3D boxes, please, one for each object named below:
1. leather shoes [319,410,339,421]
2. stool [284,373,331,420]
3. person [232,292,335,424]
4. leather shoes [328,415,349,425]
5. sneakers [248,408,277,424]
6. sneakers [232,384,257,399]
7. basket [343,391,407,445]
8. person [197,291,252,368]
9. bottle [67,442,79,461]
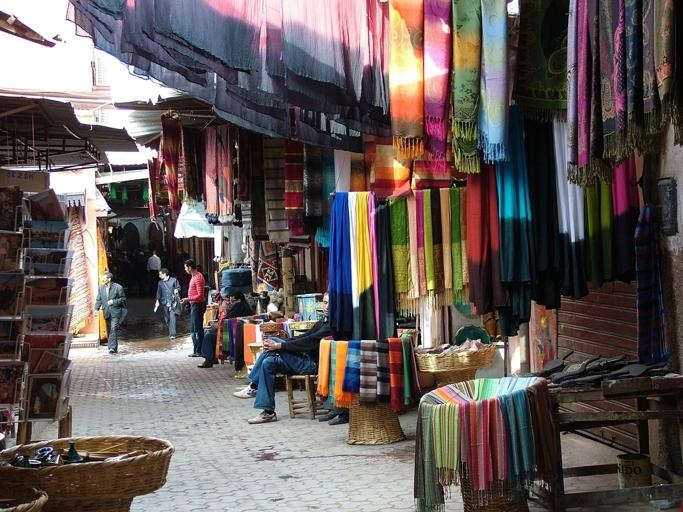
[{"bbox_3d":[-0.141,2.045,8.559,0.286,0.159,0.110,1,-3,7],"label":"leather shoes"},{"bbox_3d":[-0.496,1.877,9.000,0.494,0.913,0.605,-1,2,9],"label":"stool"},{"bbox_3d":[-0.673,1.456,8.497,1.069,1.296,0.627,-3,-3,8],"label":"person"},{"bbox_3d":[-0.030,2.056,8.362,0.243,0.124,0.098,1,-6,-18],"label":"leather shoes"},{"bbox_3d":[-0.973,2.048,8.512,0.381,0.209,0.145,3,-4,-13],"label":"sneakers"},{"bbox_3d":[-1.483,2.091,10.177,0.442,0.248,0.209,-1,-4,-3],"label":"sneakers"},{"bbox_3d":[0.392,1.806,7.378,0.509,0.682,0.520,-1,-8,-6],"label":"basket"},{"bbox_3d":[-2.266,1.285,12.936,0.912,1.934,0.695,7,9,13],"label":"person"},{"bbox_3d":[-1.601,1.205,4.102,0.083,0.107,0.080,-2,-9,0],"label":"bottle"}]
